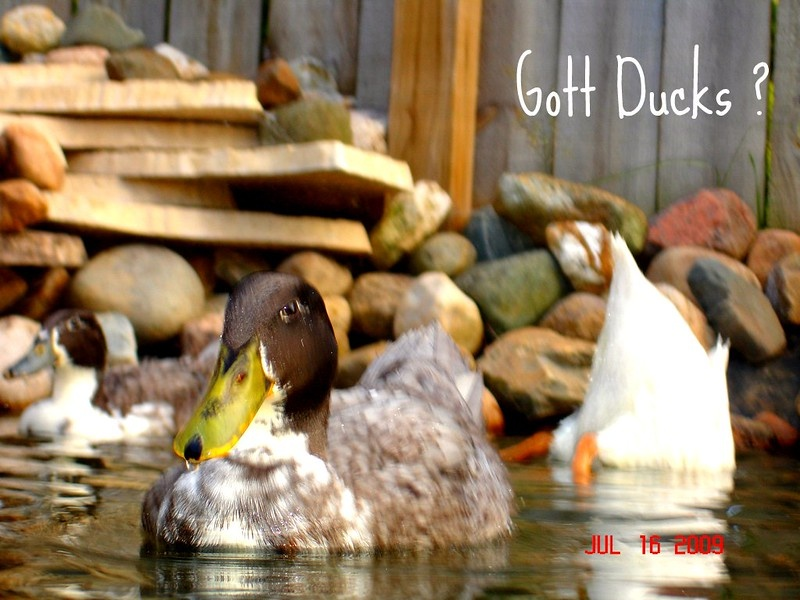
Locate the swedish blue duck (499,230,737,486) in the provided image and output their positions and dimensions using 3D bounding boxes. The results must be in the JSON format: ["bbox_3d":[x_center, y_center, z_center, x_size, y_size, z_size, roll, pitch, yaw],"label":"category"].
[{"bbox_3d":[1.332,0.272,6.760,0.865,1.244,0.461,0,6,0],"label":"swedish blue duck"}]

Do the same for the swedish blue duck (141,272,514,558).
[{"bbox_3d":[-0.210,0.443,5.619,0.994,1.050,1.519,0,0,27],"label":"swedish blue duck"}]
